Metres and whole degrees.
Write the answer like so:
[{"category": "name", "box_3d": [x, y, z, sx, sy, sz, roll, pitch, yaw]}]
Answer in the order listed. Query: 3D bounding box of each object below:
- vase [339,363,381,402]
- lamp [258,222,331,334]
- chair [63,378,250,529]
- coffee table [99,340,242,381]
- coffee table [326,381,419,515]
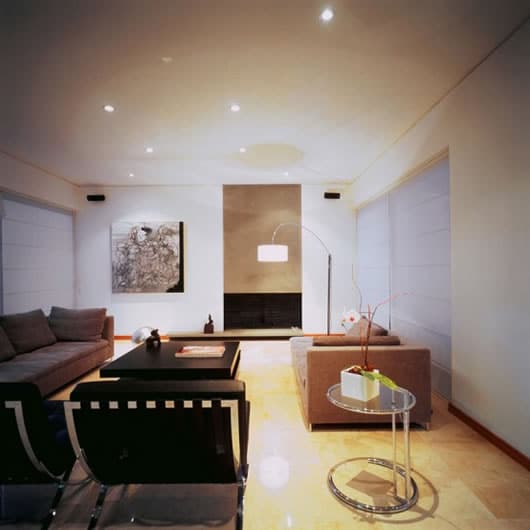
[{"category": "vase", "box_3d": [0.597, 0.743, 2.933, 0.220, 0.151, 0.208, 0, -3, 3]}, {"category": "lamp", "box_3d": [0.394, 0.329, 5.933, 1.090, 1.618, 0.389, 2, 2, -11]}, {"category": "chair", "box_3d": [-0.533, 0.868, 2.700, 0.940, 0.746, 0.858, 0, 0, 2]}, {"category": "coffee table", "box_3d": [-0.821, 0.923, 4.430, 1.124, 0.243, 1.118, 0, 0, 1]}, {"category": "coffee table", "box_3d": [0.685, 1.138, 2.995, 0.567, 0.661, 0.568, 0, 0, 4]}]
